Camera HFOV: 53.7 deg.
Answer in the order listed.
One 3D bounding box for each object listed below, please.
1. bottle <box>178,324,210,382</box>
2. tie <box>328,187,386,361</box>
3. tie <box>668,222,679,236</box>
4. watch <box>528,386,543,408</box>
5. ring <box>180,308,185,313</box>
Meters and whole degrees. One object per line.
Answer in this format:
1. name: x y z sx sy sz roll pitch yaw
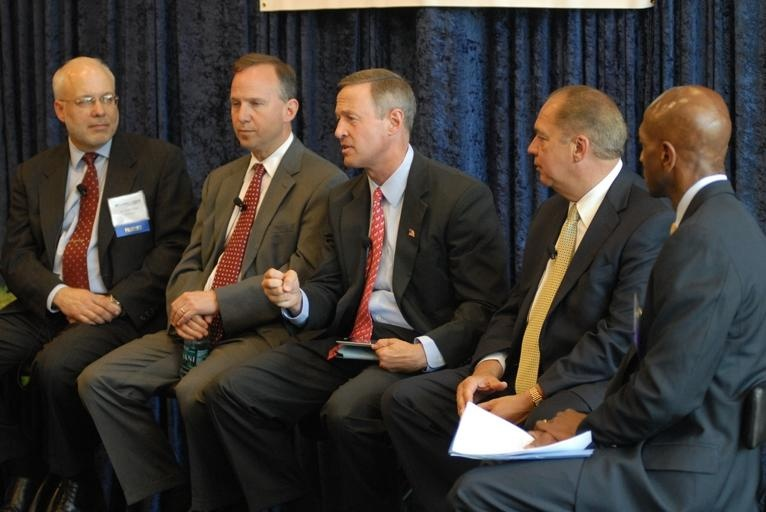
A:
1. bottle: -0.865 0.453 3.505 0.142 0.198 0.204 1 7 -13
2. tie: -0.070 0.087 3.371 0.065 0.752 0.239 7 4 -36
3. tie: 1.000 -0.093 2.599 0.014 0.058 0.059 16 4 15
4. watch: 0.581 0.537 2.873 0.056 0.067 0.024 -18 -15 24
5. ring: -0.894 0.243 3.377 0.023 0.022 0.006 2 -3 -7
